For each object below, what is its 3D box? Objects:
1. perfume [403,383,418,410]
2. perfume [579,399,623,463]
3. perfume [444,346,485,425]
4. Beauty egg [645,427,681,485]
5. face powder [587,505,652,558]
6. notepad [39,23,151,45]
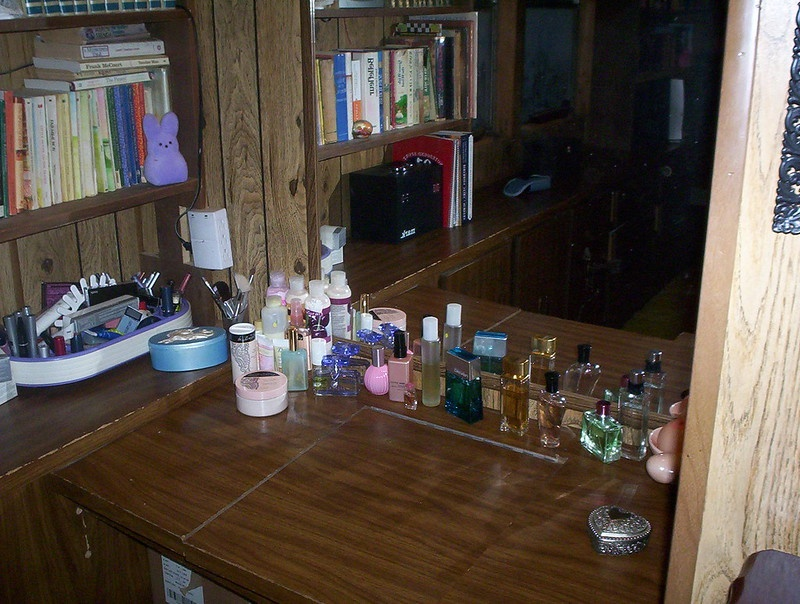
[{"bbox_3d":[0.021,0.228,1.545,0.039,0.069,0.038,11,30,21],"label":"perfume"},{"bbox_3d":[0.423,0.275,1.354,0.047,0.131,0.092,-19,26,-30],"label":"perfume"},{"bbox_3d":[0.146,0.196,1.477,0.058,0.181,0.116,-25,35,-37],"label":"perfume"},{"bbox_3d":[0.530,0.303,1.300,0.066,0.044,0.103,-3,39,36],"label":"Beauty egg"},{"bbox_3d":[0.386,0.406,1.161,0.107,0.040,0.110,-13,18,-29],"label":"face powder"},{"bbox_3d":[-0.768,-0.664,1.599,0.122,0.025,0.120,-21,35,-36],"label":"notepad"}]
